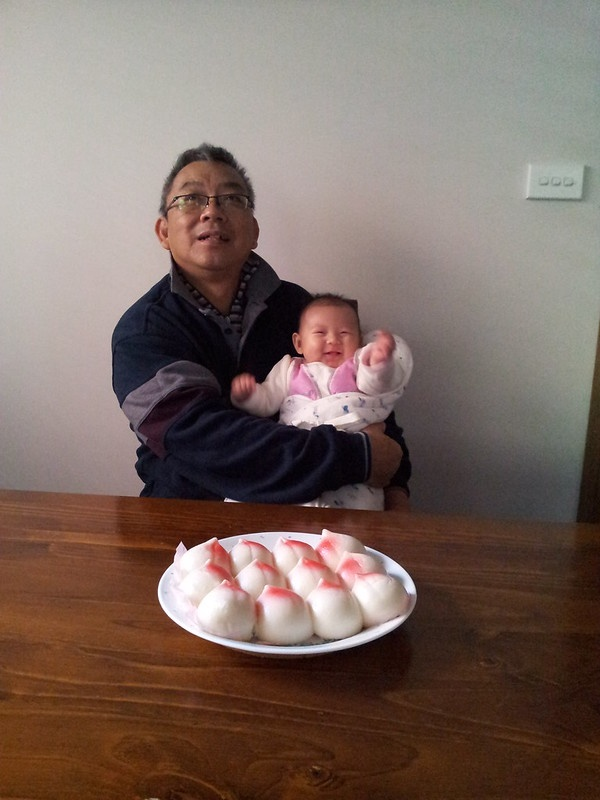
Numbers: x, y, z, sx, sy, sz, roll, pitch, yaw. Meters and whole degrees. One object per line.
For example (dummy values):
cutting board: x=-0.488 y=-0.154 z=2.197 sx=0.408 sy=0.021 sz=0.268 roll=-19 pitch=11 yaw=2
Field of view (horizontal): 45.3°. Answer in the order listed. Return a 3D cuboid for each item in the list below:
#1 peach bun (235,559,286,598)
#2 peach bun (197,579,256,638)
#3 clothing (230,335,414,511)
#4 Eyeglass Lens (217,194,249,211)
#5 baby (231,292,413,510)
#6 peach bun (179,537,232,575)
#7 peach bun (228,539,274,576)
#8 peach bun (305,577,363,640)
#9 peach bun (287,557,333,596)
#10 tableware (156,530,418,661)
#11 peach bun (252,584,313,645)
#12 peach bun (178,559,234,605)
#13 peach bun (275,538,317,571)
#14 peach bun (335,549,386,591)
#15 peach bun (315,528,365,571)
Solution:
peach bun: x=-0.037 y=0.158 z=0.633 sx=0.034 sy=0.030 sz=0.028 roll=1 pitch=57 yaw=3
peach bun: x=-0.062 y=0.171 z=0.597 sx=0.055 sy=0.043 sz=0.053 roll=11 pitch=-13 yaw=-33
clothing: x=0.056 y=0.012 z=1.332 sx=0.318 sy=0.154 sz=0.363 roll=3 pitch=40 yaw=7
Eyeglass Lens: x=-0.140 y=-0.399 z=1.454 sx=0.054 sy=0.014 sz=0.049 roll=0 pitch=-5 yaw=-10
baby: x=0.046 y=-0.013 z=1.372 sx=0.345 sy=0.207 sz=0.483 roll=0 pitch=44 yaw=7
peach bun: x=-0.089 y=0.145 z=0.662 sx=0.033 sy=0.031 sz=0.034 roll=34 pitch=10 yaw=35
peach bun: x=-0.044 y=0.151 z=0.682 sx=0.033 sy=0.030 sz=0.027 roll=-12 pitch=54 yaw=22
peach bun: x=0.028 y=0.174 z=0.587 sx=0.048 sy=0.043 sz=0.042 roll=-8 pitch=56 yaw=-6
peach bun: x=0.006 y=0.157 z=0.637 sx=0.034 sy=0.018 sz=0.031 roll=-8 pitch=26 yaw=-20
tableware: x=-0.007 y=0.170 z=0.591 sx=0.140 sy=0.016 sz=0.126 roll=-4 pitch=16 yaw=-19
peach bun: x=-0.020 y=0.179 z=0.602 sx=0.060 sy=0.049 sz=0.055 roll=-9 pitch=-11 yaw=0
peach bun: x=-0.085 y=0.157 z=0.618 sx=0.039 sy=0.032 sz=0.035 roll=7 pitch=-20 yaw=18
peach bun: x=-0.005 y=0.146 z=0.690 sx=0.028 sy=0.018 sz=0.033 roll=6 pitch=18 yaw=-47
peach bun: x=0.052 y=0.153 z=0.638 sx=0.030 sy=0.017 sz=0.031 roll=-2 pitch=6 yaw=4
peach bun: x=0.038 y=0.142 z=0.686 sx=0.034 sy=0.020 sz=0.037 roll=-17 pitch=42 yaw=-30
